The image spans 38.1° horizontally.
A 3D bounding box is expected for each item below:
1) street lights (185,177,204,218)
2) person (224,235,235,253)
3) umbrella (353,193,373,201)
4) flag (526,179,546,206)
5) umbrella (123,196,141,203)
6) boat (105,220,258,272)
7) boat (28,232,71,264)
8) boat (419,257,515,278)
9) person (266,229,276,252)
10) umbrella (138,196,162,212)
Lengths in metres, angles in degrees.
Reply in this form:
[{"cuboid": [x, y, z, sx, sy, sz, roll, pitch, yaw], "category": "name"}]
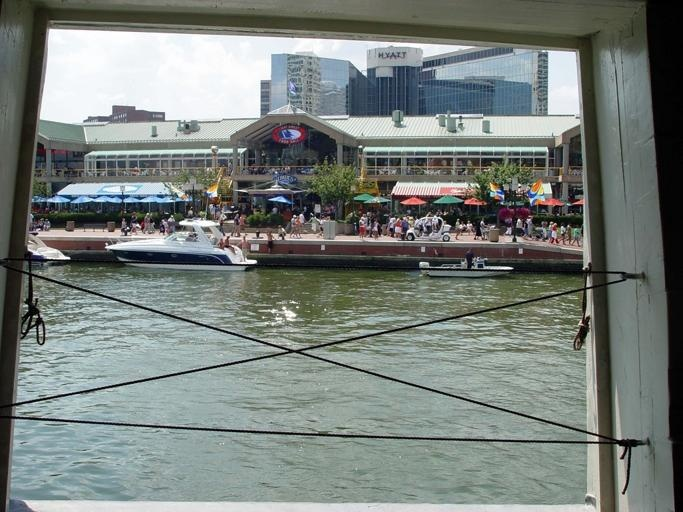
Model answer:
[{"cuboid": [-7.236, -2.747, 47.959, 0.963, 2.050, 0.403, -1, -22, -10], "category": "street lights"}, {"cuboid": [-4.549, -0.438, 39.612, 0.327, 0.911, 0.284, -12, 35, -11], "category": "person"}, {"cuboid": [1.188, -3.179, 54.723, 1.076, 0.410, 1.780, 0, 3, 2], "category": "umbrella"}, {"cuboid": [9.334, -2.986, 47.444, 0.349, 1.705, 1.999, 7, 9, 23], "category": "flag"}, {"cuboid": [-13.243, -3.464, 61.735, 0.668, 0.204, 0.651, 6, 8, 3], "category": "umbrella"}, {"cuboid": [-6.251, -0.349, 38.573, 6.866, 2.051, 2.151, 0, 7, 5], "category": "boat"}, {"cuboid": [-10.819, -0.252, 36.405, 1.050, 1.106, 3.448, -5, 8, -38], "category": "boat"}, {"cuboid": [4.786, 0.520, 35.107, 4.015, 0.909, 1.124, 0, 0, 4], "category": "boat"}, {"cuboid": [-3.010, -0.528, 41.378, 0.254, 0.830, 0.814, 0, 3, -4], "category": "person"}, {"cuboid": [-11.949, -3.387, 60.994, 1.383, 0.966, 1.475, 1, 4, -6], "category": "umbrella"}]
